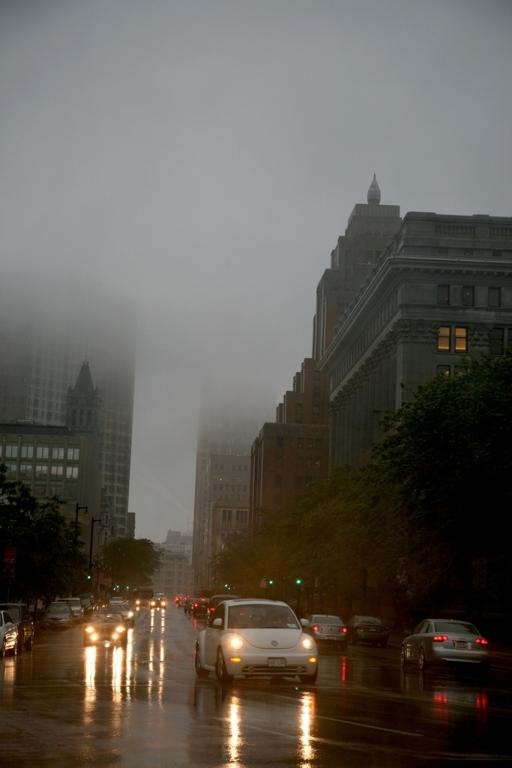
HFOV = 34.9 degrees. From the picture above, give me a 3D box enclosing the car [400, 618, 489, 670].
[{"bbox_3d":[5.009,7.054,22.361,1.180,0.911,2.843,2,-7,-1],"label":"car"}]
